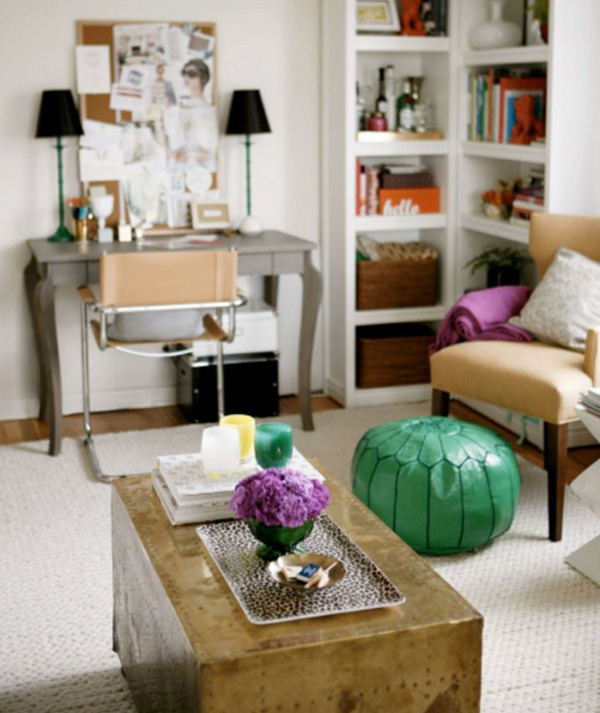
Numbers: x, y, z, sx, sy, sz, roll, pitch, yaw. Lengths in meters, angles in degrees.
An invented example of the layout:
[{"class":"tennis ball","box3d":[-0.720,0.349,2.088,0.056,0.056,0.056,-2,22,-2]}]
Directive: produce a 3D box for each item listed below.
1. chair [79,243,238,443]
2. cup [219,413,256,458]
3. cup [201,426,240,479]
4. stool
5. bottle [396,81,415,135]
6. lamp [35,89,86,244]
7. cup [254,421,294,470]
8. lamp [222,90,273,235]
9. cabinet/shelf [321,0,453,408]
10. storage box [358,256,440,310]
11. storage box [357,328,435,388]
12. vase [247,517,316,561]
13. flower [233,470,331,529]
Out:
[{"class":"chair","box3d":[-0.573,0.000,2.791,0.678,0.954,0.716,-2,15,-10]},{"class":"cup","box3d":[-0.119,0.166,1.417,0.081,0.093,0.086,0,0,0]},{"class":"cup","box3d":[-0.160,0.190,1.333,0.083,0.088,0.088,2,6,0]},{"class":"stool","box3d":[0.433,0.373,2.112,0.488,0.310,0.503,3,15,24]},{"class":"bottle","box3d":[0.561,-1.297,3.493,0.077,0.263,0.078,0,4,0]},{"class":"lamp","box3d":[-1.115,-0.888,3.101,0.207,0.711,0.234,-1,7,-22]},{"class":"cup","box3d":[-0.050,0.179,1.386,0.085,0.090,0.086,2,9,0]},{"class":"lamp","box3d":[-0.256,-0.965,3.300,0.220,0.726,0.310,1,6,-4]},{"class":"cabinet/shelf","box3d":[0.431,-0.772,3.543,0.723,2.057,0.410,0,7,-16]},{"class":"storage box","box3d":[0.578,-0.362,3.661,0.453,0.269,0.353,-1,-2,17]},{"class":"storage box","box3d":[0.452,0.008,3.789,0.535,0.323,0.514,-1,1,-30]},{"class":"vase","box3d":[-0.029,0.268,1.046,0.077,0.052,0.079,5,6,35]},{"class":"flower","box3d":[-0.027,0.227,1.082,0.137,0.090,0.145,2,-2,41]}]
